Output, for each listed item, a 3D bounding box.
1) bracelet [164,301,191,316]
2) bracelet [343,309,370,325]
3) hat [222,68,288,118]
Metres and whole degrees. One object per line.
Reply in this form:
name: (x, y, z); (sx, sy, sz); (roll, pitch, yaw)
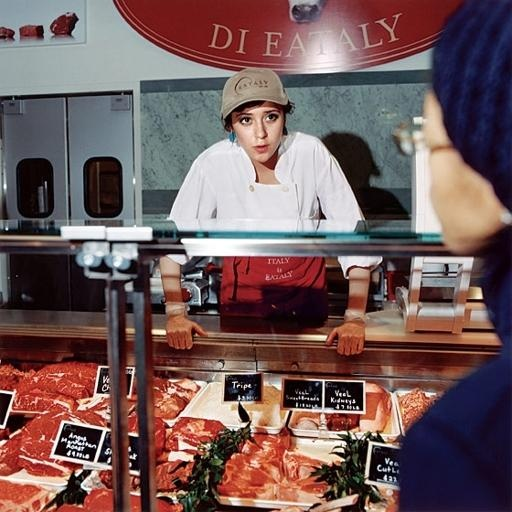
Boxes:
bracelet: (-0.275, 0.175, 1.637); (0.059, 0.038, 0.045); (0, -2, 4)
bracelet: (0.315, 0.189, 1.527); (0.042, 0.032, 0.054); (0, 3, -2)
hat: (-0.005, -0.645, 1.851); (0.264, 0.162, 0.323); (-2, 37, 4)
